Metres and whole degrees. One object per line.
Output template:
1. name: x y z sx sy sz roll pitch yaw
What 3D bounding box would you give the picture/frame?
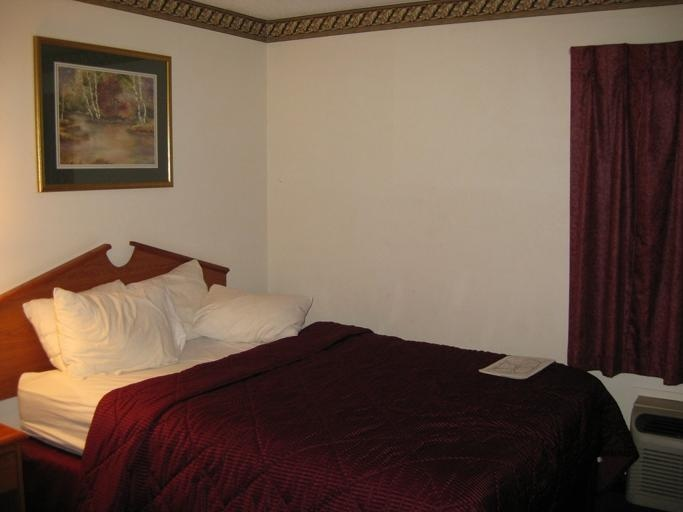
1. picture/frame: -1.630 -0.970 3.577 0.075 1.071 1.118 7 10 36
